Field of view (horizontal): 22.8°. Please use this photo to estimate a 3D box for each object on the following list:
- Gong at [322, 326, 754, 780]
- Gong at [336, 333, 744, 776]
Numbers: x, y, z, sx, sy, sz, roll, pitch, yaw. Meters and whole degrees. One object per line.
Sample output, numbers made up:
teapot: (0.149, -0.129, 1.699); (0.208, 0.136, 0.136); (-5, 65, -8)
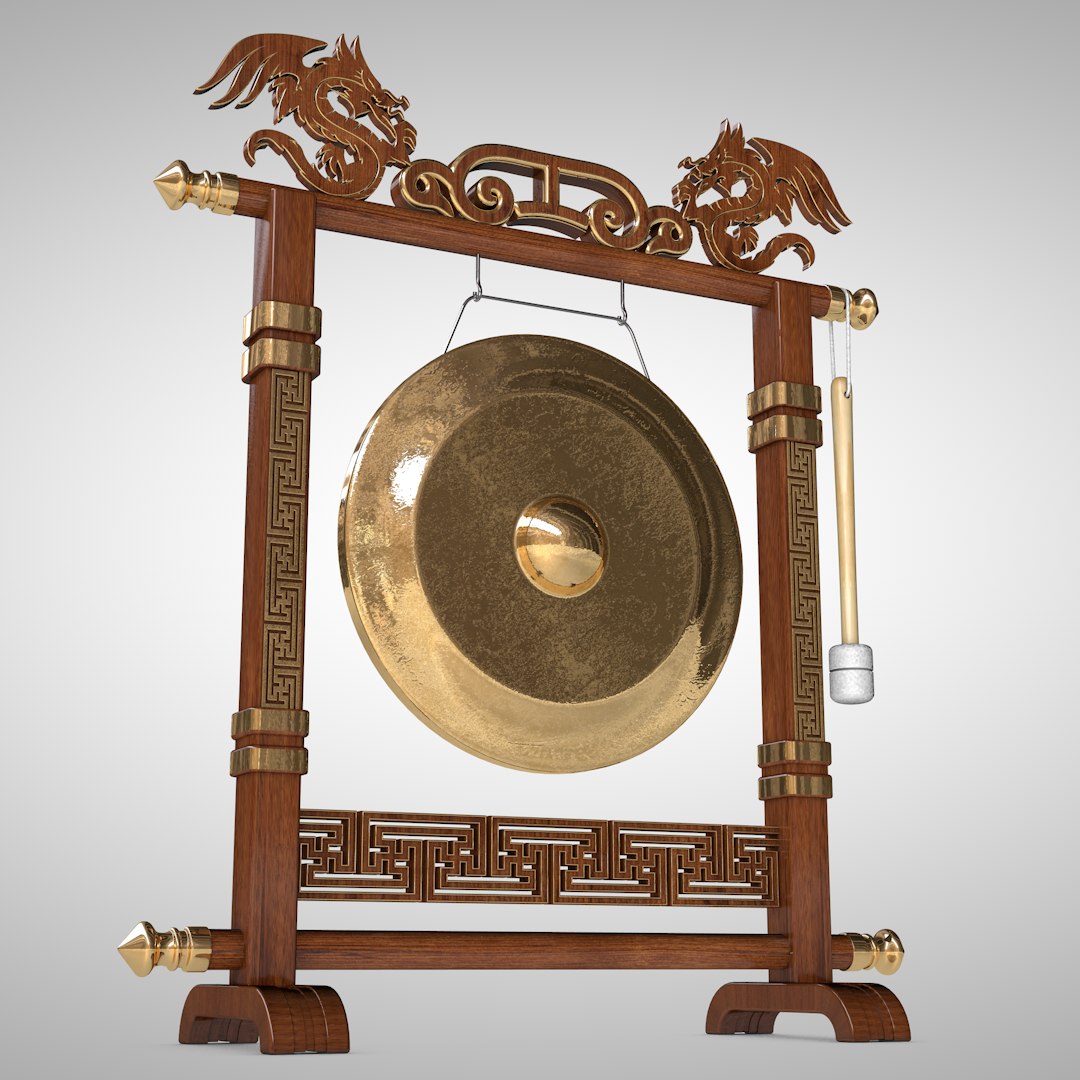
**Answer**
Gong: (0.018, 0.020, 4.600); (0.825, 0.141, 0.765); (0, -100, -33)
Gong: (0.020, 0.022, 4.595); (0.809, 0.133, 0.738); (3, -99, -27)
